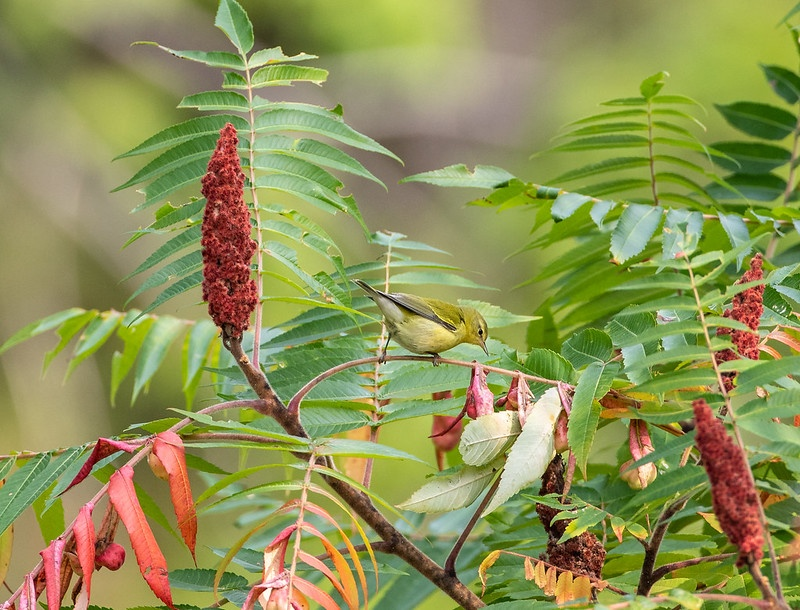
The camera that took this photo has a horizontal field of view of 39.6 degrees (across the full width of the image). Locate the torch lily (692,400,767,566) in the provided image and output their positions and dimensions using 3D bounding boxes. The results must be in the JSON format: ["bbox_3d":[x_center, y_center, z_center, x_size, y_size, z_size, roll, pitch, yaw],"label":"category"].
[{"bbox_3d":[1.424,0.757,4.779,0.215,0.726,0.176,-14,-14,-5],"label":"torch lily"}]

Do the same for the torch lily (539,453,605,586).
[{"bbox_3d":[0.813,1.087,5.577,0.304,0.624,0.333,-9,-14,-21],"label":"torch lily"}]

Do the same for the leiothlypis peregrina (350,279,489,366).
[{"bbox_3d":[0.070,0.101,7.325,1.098,0.403,0.328,25,-14,-26],"label":"leiothlypis peregrina"}]
